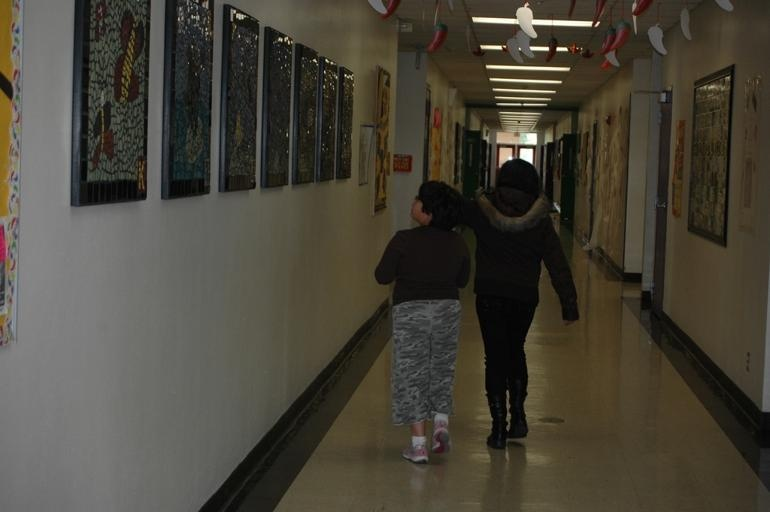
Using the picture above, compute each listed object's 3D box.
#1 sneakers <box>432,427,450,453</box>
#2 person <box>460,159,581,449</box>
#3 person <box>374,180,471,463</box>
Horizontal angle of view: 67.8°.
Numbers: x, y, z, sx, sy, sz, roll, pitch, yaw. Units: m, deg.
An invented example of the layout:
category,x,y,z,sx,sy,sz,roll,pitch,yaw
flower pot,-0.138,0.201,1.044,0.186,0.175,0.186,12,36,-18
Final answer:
category,x,y,z,sx,sy,sz,roll,pitch,yaw
sneakers,0.400,1.298,4.055,0.094,0.207,0.091,-3,17,-2
person,0.963,0.365,4.223,0.785,2.164,0.561,-3,6,-30
person,0.264,0.472,3.964,0.648,1.982,0.241,0,5,-7
